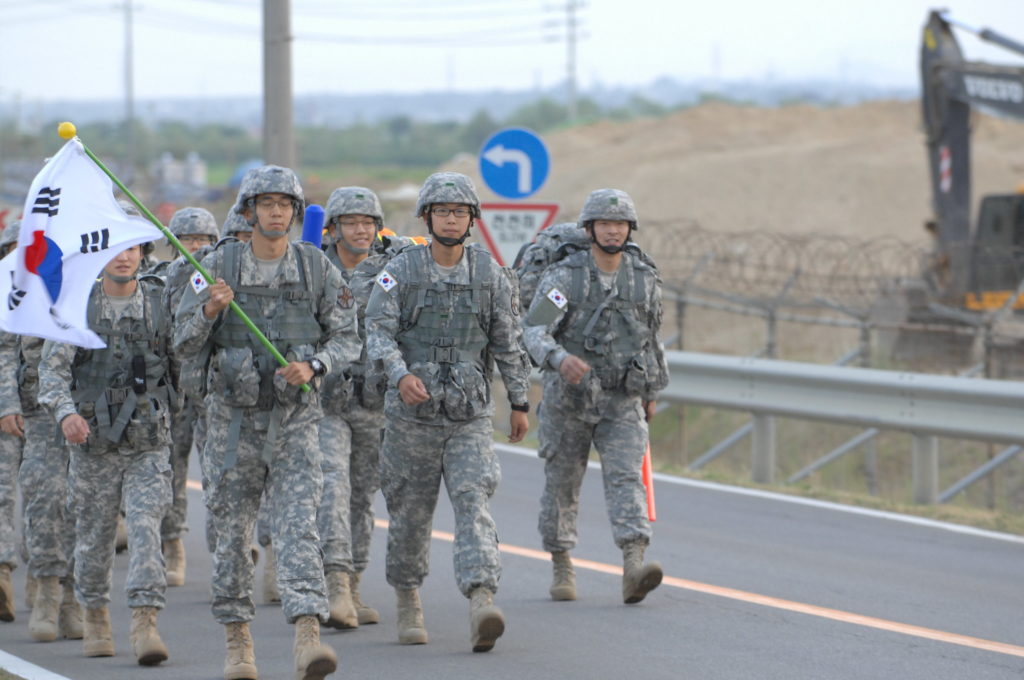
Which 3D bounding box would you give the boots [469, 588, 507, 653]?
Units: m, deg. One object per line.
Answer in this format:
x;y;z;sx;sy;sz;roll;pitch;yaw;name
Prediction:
-0.199;2.112;16.941;0.244;0.542;0.502;-2;14;-2;boots

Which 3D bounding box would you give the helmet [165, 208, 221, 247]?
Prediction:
-2.738;-0.982;19.325;0.397;0.303;0.315;-4;-3;22;helmet

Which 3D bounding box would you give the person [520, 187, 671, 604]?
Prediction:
0.683;0.438;18.058;1.120;3.198;1.245;-1;14;2;person

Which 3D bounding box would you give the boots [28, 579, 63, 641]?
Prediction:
-3.643;2.086;17.501;0.209;0.439;0.625;6;13;-10;boots

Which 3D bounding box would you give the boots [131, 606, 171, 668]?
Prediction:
-2.725;2.232;16.823;0.266;0.431;0.247;-4;14;-10;boots

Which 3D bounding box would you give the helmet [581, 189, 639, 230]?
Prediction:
0.774;-1.040;18.084;0.464;0.348;0.350;-2;14;-3;helmet

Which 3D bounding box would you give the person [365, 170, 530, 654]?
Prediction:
-0.532;0.566;17.056;1.198;3.496;1.293;0;14;7;person

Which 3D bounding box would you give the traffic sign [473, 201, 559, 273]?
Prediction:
0.033;-0.976;21.027;0.906;0.819;0.088;1;-3;-13;traffic sign

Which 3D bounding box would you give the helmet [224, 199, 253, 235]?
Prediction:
-2.287;-0.998;18.539;0.262;0.335;0.306;-2;1;-3;helmet

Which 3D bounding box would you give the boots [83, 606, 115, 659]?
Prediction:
-3.174;2.195;17.138;0.234;0.374;0.383;-4;14;-11;boots
